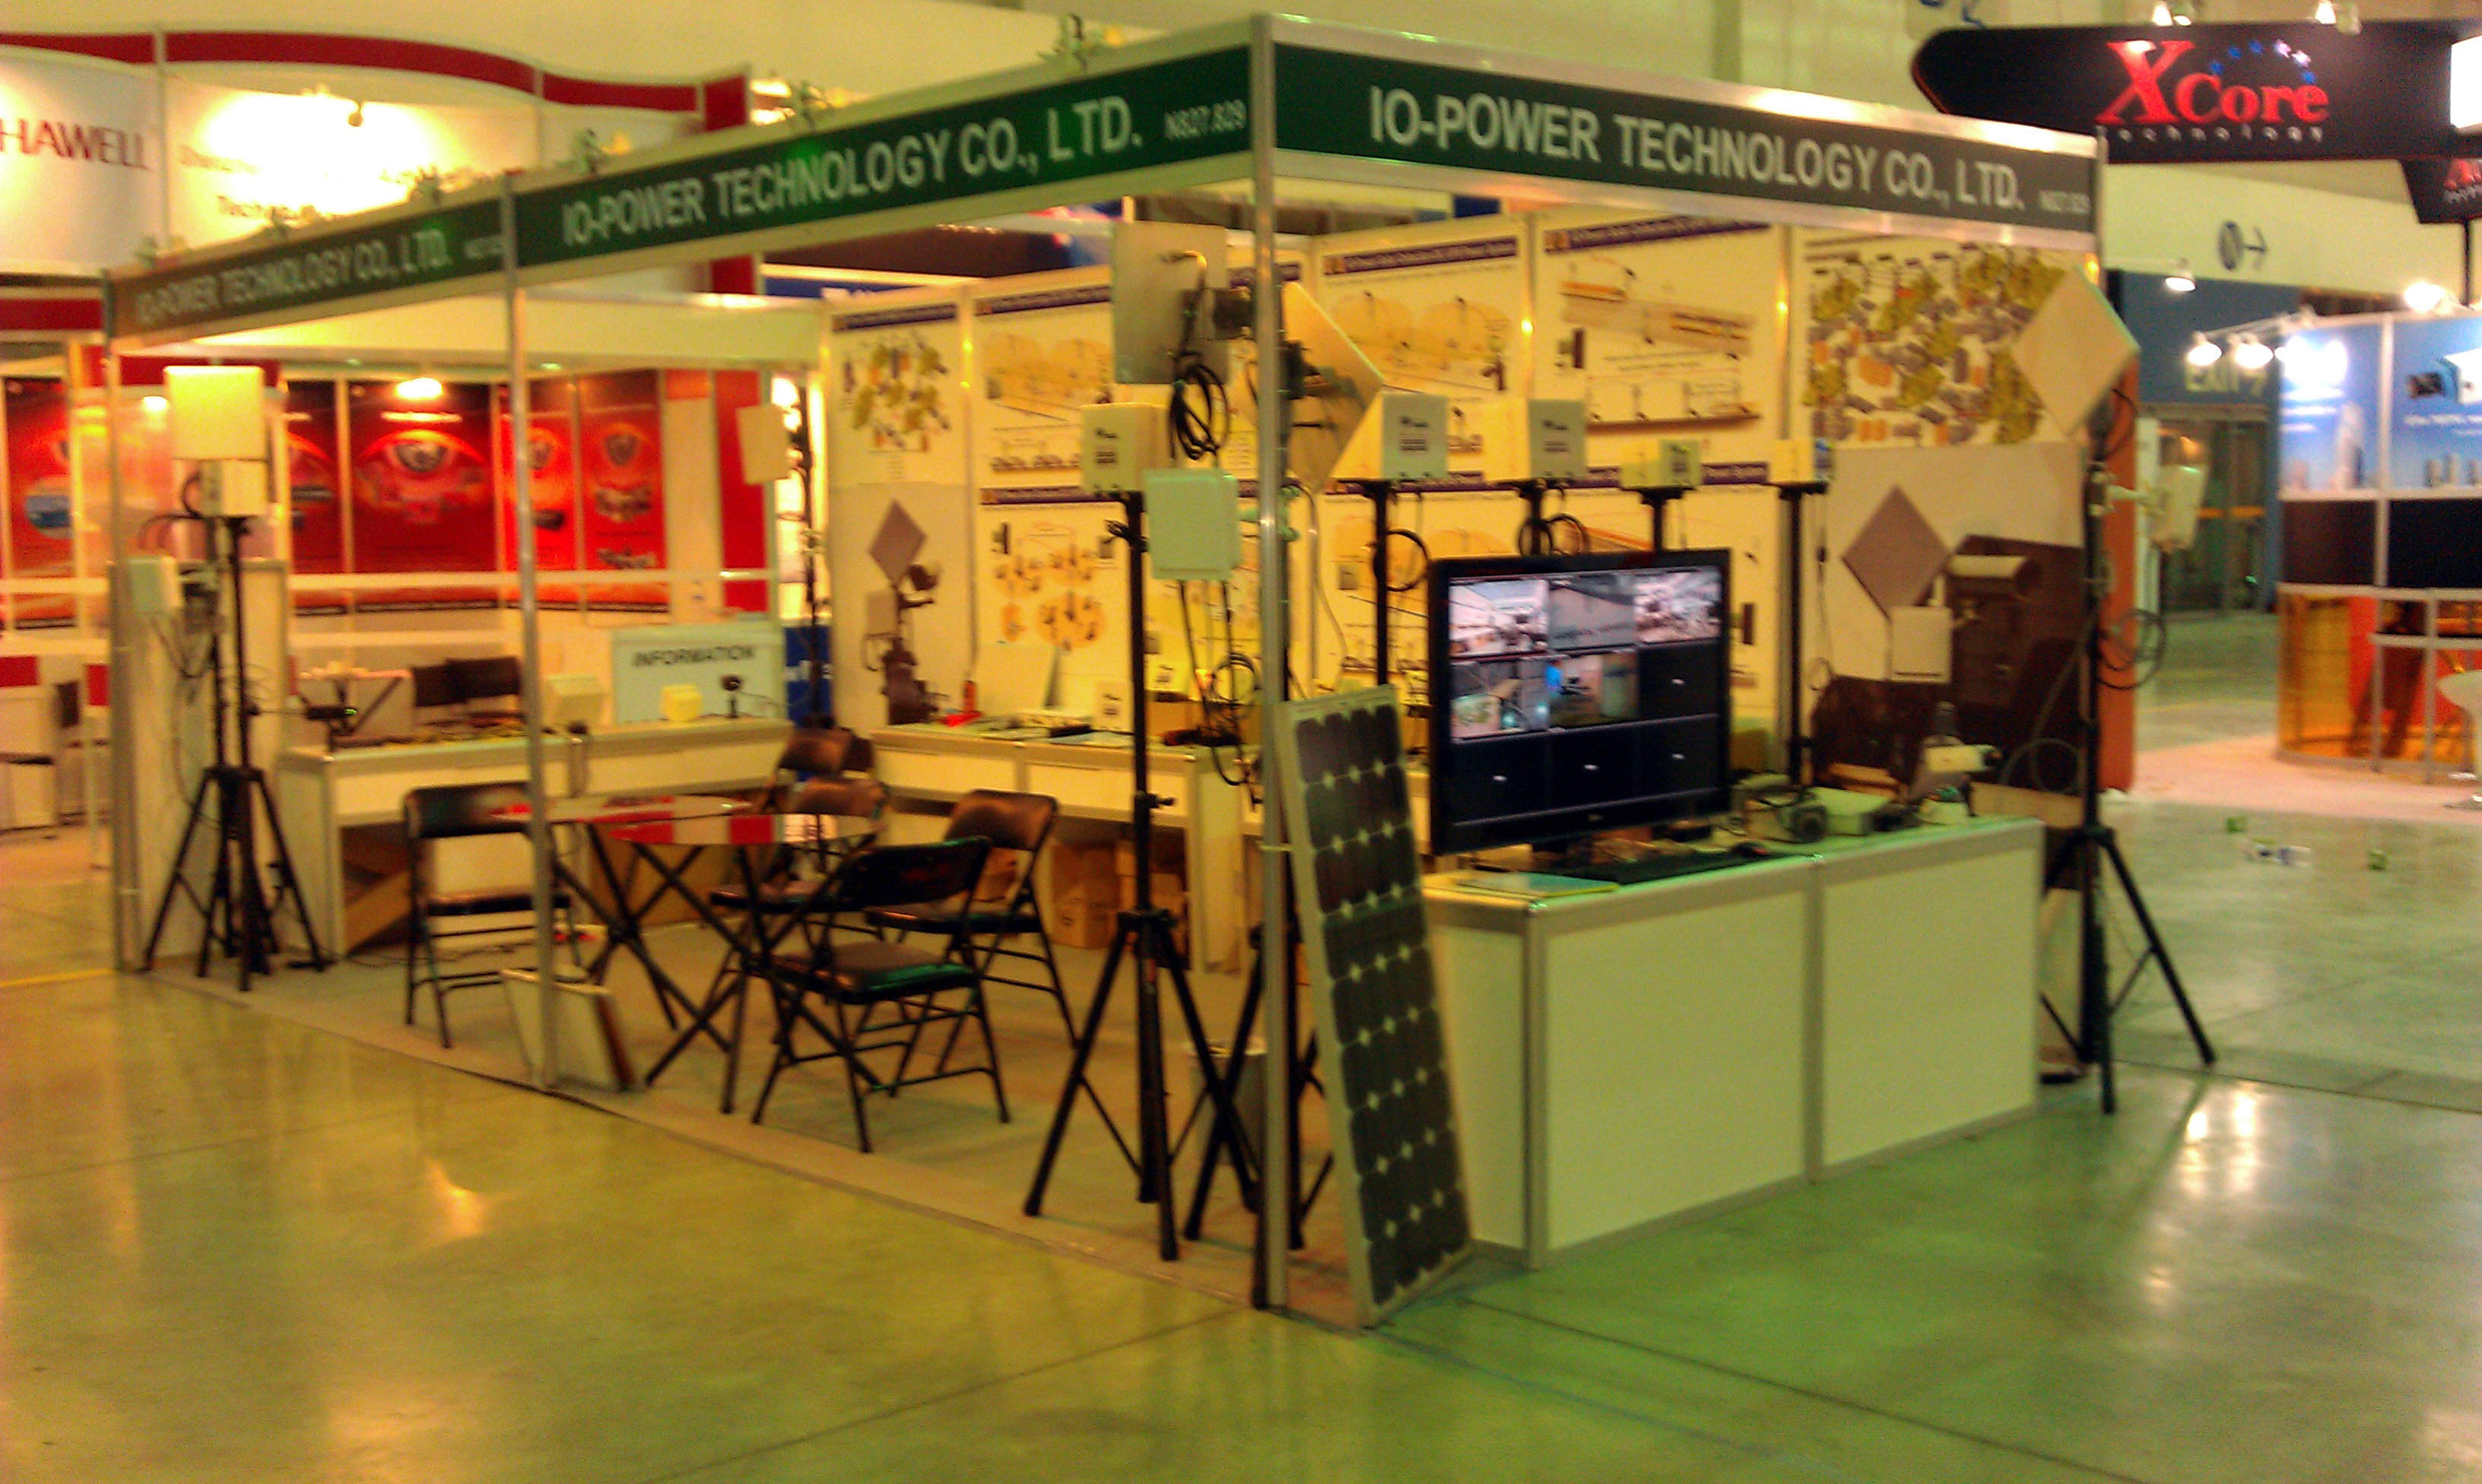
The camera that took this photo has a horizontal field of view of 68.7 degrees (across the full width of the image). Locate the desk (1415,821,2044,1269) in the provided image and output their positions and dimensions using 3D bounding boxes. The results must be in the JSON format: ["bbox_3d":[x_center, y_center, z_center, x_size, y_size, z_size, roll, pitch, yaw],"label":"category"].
[{"bbox_3d":[1.610,1.068,6.332,1.818,0.651,0.478,-5,6,-29],"label":"desk"}]

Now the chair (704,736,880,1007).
[{"bbox_3d":[-2.393,0.494,9.259,1.008,1.067,0.731,-12,13,-40],"label":"chair"}]

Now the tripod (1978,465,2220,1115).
[{"bbox_3d":[3.471,0.106,7.559,0.679,2.515,0.919,-8,15,-24],"label":"tripod"}]

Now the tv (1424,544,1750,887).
[{"bbox_3d":[1.197,-0.079,6.435,1.482,0.891,0.279,-5,4,-34],"label":"tv"}]

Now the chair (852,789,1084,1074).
[{"bbox_3d":[-1.250,0.746,7.995,1.003,0.880,0.811,-5,8,-27],"label":"chair"}]

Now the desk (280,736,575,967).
[{"bbox_3d":[-4.188,0.575,9.414,0.795,1.080,1.396,5,7,36],"label":"desk"}]

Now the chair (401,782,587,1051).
[{"bbox_3d":[-3.664,0.731,9.027,0.940,0.919,0.965,16,23,33],"label":"chair"}]
